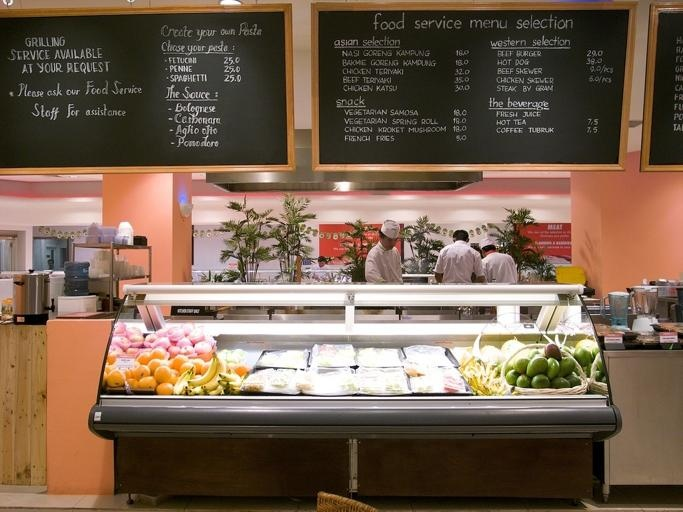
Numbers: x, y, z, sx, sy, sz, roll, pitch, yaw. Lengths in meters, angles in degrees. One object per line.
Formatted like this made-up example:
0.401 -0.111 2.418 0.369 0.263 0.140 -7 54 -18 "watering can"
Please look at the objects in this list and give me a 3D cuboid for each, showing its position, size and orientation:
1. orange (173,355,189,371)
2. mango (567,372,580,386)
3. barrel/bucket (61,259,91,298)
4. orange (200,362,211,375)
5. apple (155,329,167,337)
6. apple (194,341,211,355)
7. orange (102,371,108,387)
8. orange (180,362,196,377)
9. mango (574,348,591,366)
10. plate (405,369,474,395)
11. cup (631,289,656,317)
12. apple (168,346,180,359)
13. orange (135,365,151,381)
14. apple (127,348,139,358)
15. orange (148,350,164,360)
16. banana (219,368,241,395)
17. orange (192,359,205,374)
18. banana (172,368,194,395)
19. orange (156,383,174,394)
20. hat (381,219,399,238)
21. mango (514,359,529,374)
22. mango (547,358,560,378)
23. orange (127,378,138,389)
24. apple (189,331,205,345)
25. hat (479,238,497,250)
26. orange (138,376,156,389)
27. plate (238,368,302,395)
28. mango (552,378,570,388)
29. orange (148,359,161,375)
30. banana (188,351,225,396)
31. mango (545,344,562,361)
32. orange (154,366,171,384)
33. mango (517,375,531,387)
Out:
-1.060 0.700 4.169 0.086 0.086 0.102 -1 40 -8 "orange"
1.494 0.791 4.036 0.068 0.084 0.047 -10 -34 -8 "mango"
-2.137 0.187 5.096 0.285 0.281 0.260 0 3 0 "barrel/bucket"
-0.884 0.744 4.172 0.064 0.073 0.062 13 -23 -2 "orange"
-1.234 0.528 4.344 0.053 0.048 0.051 1 1 -4 "apple"
-0.948 0.620 4.290 0.084 0.040 0.082 -2 7 -39 "apple"
-1.512 0.788 4.045 0.045 0.090 0.019 -5 8 -6 "orange"
-1.001 0.744 4.159 0.082 0.094 0.081 12 -8 32 "orange"
1.581 0.655 4.111 0.109 0.101 0.103 1 -7 -5 "mango"
0.638 0.813 4.105 0.388 0.114 0.233 -3 8 2 "plate"
2.305 0.344 4.786 0.179 0.205 0.214 0 -3 -3 "cup"
-1.122 0.645 4.253 0.075 0.065 0.071 0 31 -6 "apple"
-1.287 0.753 4.091 0.080 0.071 0.085 0 45 -30 "orange"
-1.378 0.636 4.162 0.061 0.028 0.059 4 14 -4 "apple"
-1.212 0.632 4.154 0.084 0.062 0.072 -4 9 -35 "orange"
-0.711 0.804 4.053 0.183 0.094 0.086 27 29 -36 "banana"
-0.940 0.728 4.169 0.087 0.098 0.083 -11 -31 -13 "orange"
-1.021 0.809 4.080 0.077 0.154 0.060 26 -38 0 "banana"
-1.136 0.852 4.058 0.111 0.065 0.052 -5 8 -10 "orange"
0.483 -0.264 6.164 0.152 0.144 0.192 4 -12 1 "hat"
1.165 0.702 4.058 0.093 0.086 0.089 4 1 -11 "mango"
1.359 0.714 4.037 0.087 0.108 0.088 2 10 -32 "mango"
-1.350 0.821 4.071 0.068 0.049 0.049 12 22 2 "orange"
-0.988 0.562 4.345 0.078 0.063 0.076 -23 25 1 "apple"
1.752 -0.142 7.504 0.266 0.133 0.344 -3 -1 1 "hat"
-1.267 0.824 4.111 0.099 0.073 0.072 -2 -8 -9 "orange"
-0.460 0.818 4.104 0.382 0.115 0.224 -4 8 -2 "plate"
1.400 0.809 4.015 0.072 0.067 0.070 -15 -26 37 "mango"
-1.222 0.713 4.067 0.086 0.096 0.083 0 -16 16 "orange"
-0.879 0.752 4.073 0.229 0.238 0.124 -4 8 2 "banana"
1.367 0.613 4.110 0.113 0.082 0.083 46 0 5 "mango"
-1.152 0.767 4.083 0.106 0.111 0.100 6 -21 -38 "orange"
1.170 0.802 4.033 0.075 0.071 0.076 9 -1 35 "mango"
